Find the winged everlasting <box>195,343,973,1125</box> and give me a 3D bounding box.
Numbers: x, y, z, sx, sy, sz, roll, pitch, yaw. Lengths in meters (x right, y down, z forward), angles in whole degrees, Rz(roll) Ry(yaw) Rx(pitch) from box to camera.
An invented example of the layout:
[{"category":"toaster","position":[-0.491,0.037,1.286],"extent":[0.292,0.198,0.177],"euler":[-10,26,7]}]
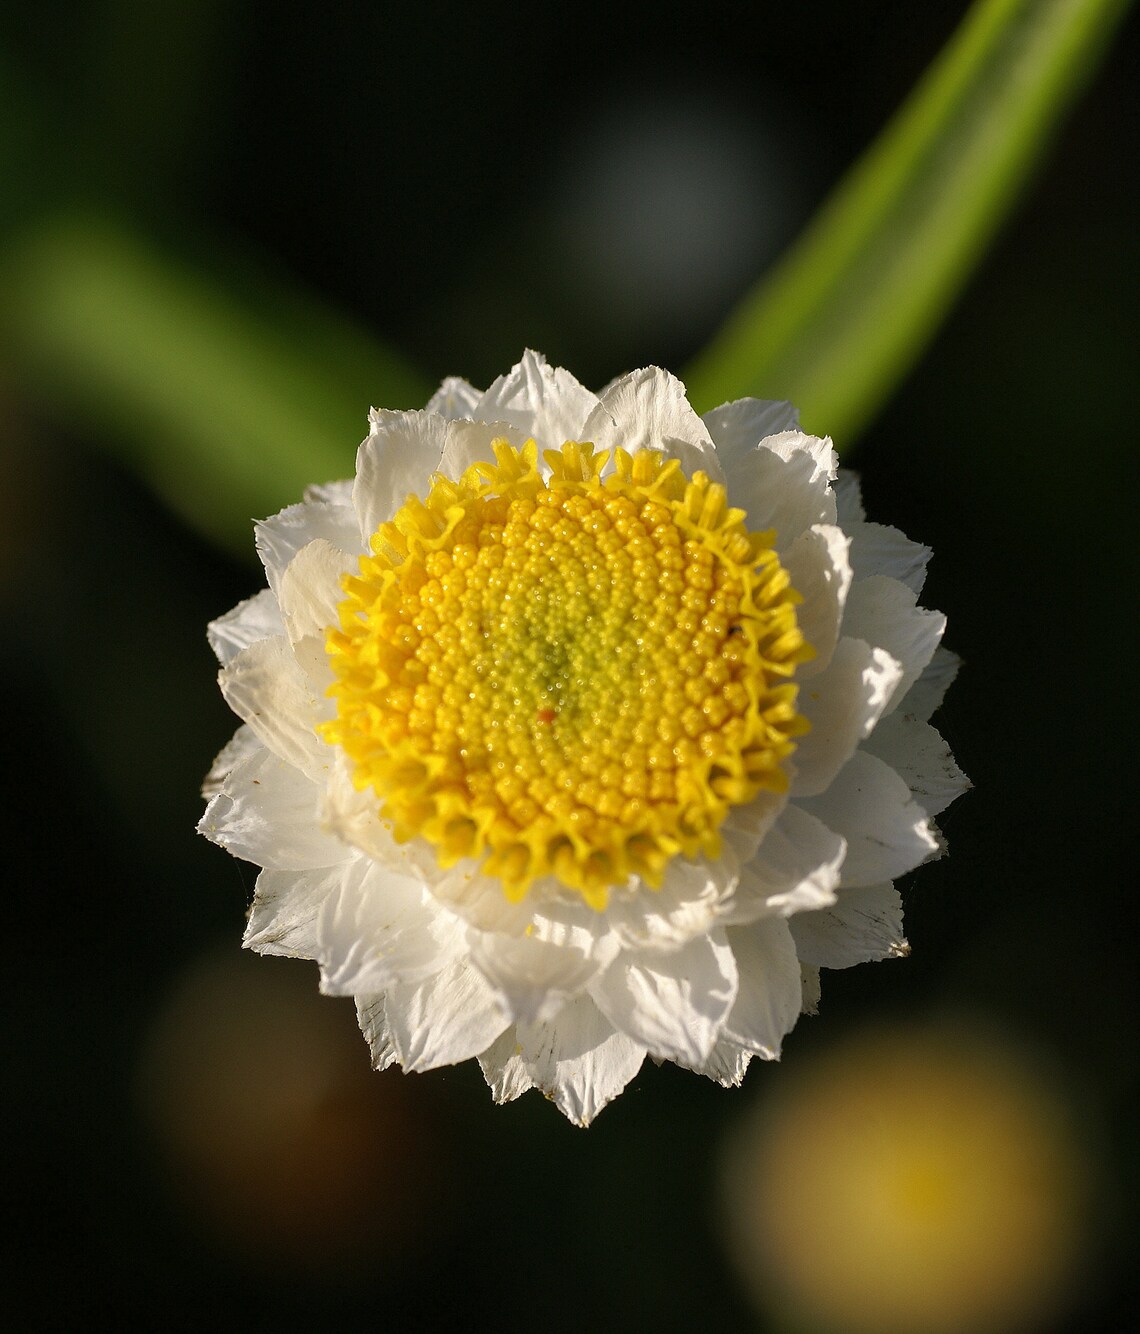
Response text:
[{"category":"winged everlasting","position":[0.029,0.067,1.773],"extent":[0.983,1.013,0.870],"euler":[-4,-56,-3]}]
